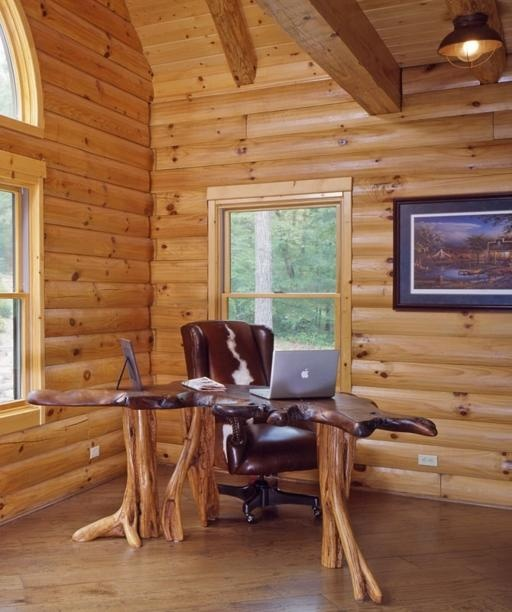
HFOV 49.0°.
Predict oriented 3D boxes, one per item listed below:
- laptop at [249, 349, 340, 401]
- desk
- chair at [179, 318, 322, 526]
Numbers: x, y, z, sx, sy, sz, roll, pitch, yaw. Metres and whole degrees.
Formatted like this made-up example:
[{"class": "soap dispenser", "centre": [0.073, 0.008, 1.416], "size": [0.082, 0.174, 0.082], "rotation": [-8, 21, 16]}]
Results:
[{"class": "laptop", "centre": [0.198, 0.320, 2.606], "size": [0.389, 0.238, 0.280], "rotation": [1, -1, -10]}, {"class": "desk", "centre": [-0.106, 0.819, 2.766], "size": [1.771, 0.804, 0.856], "rotation": [0, -1, 21]}, {"class": "chair", "centre": [-0.018, 0.627, 3.312], "size": [0.726, 0.997, 0.852], "rotation": [4, -2, -32]}]
